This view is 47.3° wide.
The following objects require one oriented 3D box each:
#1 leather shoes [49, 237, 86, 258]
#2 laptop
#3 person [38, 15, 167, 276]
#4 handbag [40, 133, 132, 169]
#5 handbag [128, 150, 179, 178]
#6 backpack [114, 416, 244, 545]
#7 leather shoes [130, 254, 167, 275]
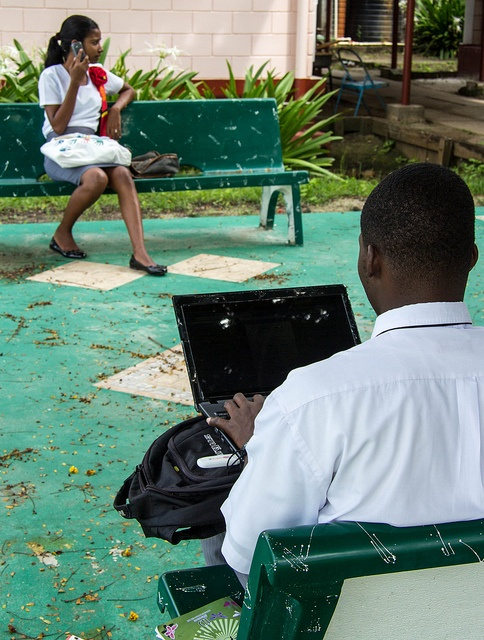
[{"bbox_3d":[-1.731,-0.722,5.508,0.414,0.142,0.160,19,28,11],"label":"leather shoes"},{"bbox_3d":[0.080,0.115,1.850,0.626,0.317,0.503,-9,10,-9],"label":"laptop"},{"bbox_3d":[-1.476,-1.663,5.322,1.036,2.329,1.505,-10,22,-8],"label":"person"},{"bbox_3d":[-1.471,-1.587,5.167,0.562,0.152,0.417,-4,32,-14],"label":"handbag"},{"bbox_3d":[-0.923,-1.614,5.760,0.436,0.156,0.304,-12,22,-22],"label":"handbag"},{"bbox_3d":[-0.174,0.442,1.490,0.400,0.126,0.287,-20,34,-17],"label":"backpack"},{"bbox_3d":[-0.873,-0.538,5.212,0.439,0.144,0.160,13,25,32],"label":"leather shoes"}]
